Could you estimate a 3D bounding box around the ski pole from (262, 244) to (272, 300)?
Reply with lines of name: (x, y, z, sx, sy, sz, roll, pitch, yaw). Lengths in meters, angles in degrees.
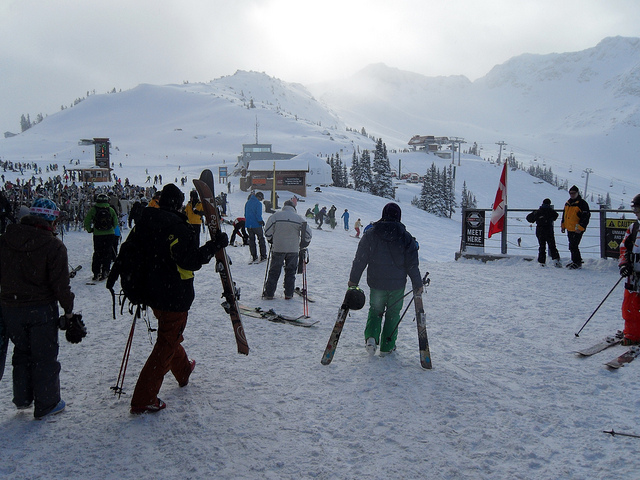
ski pole: (-1.221, 0.734, 13.396, 0.033, 1.363, 0.095, 13, -32, 1)

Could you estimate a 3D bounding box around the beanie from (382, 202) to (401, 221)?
beanie: (1.155, -0.440, 9.410, 0.199, 0.298, 0.265, 3, -27, -6)

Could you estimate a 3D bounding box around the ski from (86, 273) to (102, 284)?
ski: (-5.186, 0.877, 13.466, 0.187, 0.084, 0.151, -27, 11, 18)

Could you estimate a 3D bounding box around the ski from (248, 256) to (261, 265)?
ski: (-1.815, 0.554, 16.310, 0.075, 0.083, 0.534, 24, 36, 19)

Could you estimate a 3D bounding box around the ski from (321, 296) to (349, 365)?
ski: (0.236, 1.492, 9.310, 0.274, 1.320, 0.228, 16, 5, 20)

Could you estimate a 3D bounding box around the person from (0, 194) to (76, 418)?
person: (-3.784, 0.907, 7.864, 0.895, 2.856, 0.606, -2, 9, -24)

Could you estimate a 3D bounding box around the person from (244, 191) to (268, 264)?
person: (-1.724, -0.396, 15.687, 0.582, 1.867, 0.556, -2, 0, 31)

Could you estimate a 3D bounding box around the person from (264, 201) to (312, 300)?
person: (-0.696, 0.223, 12.343, 0.926, 2.062, 0.519, 1, 8, -6)

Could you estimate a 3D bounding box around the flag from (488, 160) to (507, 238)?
flag: (5.266, -1.189, 17.099, 0.422, 2.447, 0.323, 14, 39, 28)

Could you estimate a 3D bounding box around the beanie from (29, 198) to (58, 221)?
beanie: (-3.726, -0.413, 7.925, 0.377, 0.298, 0.268, -6, 11, -39)

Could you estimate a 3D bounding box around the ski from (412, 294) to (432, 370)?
ski: (1.627, 1.373, 9.248, 0.214, 1.147, 0.179, -12, -15, 25)

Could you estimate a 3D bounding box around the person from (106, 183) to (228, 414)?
person: (-2.140, 0.946, 8.058, 1.331, 2.772, 0.547, -1, 9, -18)

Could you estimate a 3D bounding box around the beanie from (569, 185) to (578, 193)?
beanie: (6.241, -1.268, 14.380, 0.178, 0.187, 0.180, -4, 10, -34)

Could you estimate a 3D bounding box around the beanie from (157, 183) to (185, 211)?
beanie: (-2.022, -0.544, 8.163, 0.291, 0.434, 0.394, 8, 0, 0)
